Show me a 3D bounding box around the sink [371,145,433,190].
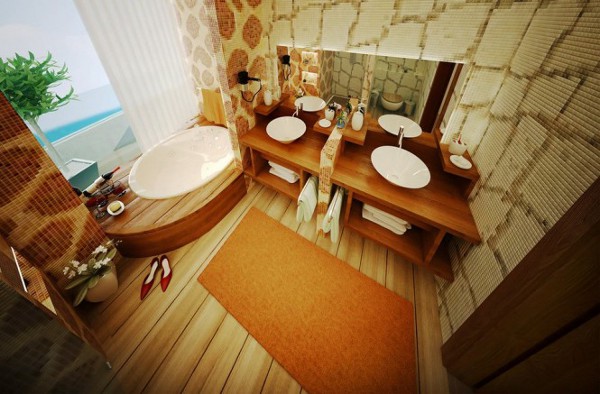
[{"bbox_3d":[1.015,-0.301,3.519,0.602,0.167,0.455,14,42,17],"label":"sink"}]

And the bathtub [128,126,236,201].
[{"bbox_3d":[-1.598,-0.489,4.675,0.954,0.232,1.131,25,48,24],"label":"bathtub"}]

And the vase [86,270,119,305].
[{"bbox_3d":[-2.006,0.933,3.621,0.300,0.247,0.332,-3,36,-6],"label":"vase"}]

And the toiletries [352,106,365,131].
[{"bbox_3d":[0.618,-0.827,3.678,0.132,0.230,0.241,7,44,10],"label":"toiletries"}]

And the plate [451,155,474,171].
[{"bbox_3d":[1.566,-0.328,3.375,0.146,0.057,0.231,-28,46,-29],"label":"plate"}]

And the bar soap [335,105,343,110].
[{"bbox_3d":[0.431,-1.009,3.930,0.078,0.054,0.019,6,7,-5],"label":"bar soap"}]

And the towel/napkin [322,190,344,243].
[{"bbox_3d":[0.346,0.200,3.776,0.137,0.292,0.512,12,41,15],"label":"towel/napkin"}]

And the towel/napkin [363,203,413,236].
[{"bbox_3d":[1.013,0.164,3.817,0.379,0.122,0.374,25,43,26],"label":"towel/napkin"}]

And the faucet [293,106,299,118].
[{"bbox_3d":[-0.040,-1.010,4.141,0.060,0.101,0.103,18,65,21],"label":"faucet"}]

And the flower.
[{"bbox_3d":[-2.073,0.809,3.569,0.357,0.469,0.639,26,47,30],"label":"flower"}]

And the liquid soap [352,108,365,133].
[{"bbox_3d":[0.609,-0.801,3.663,0.128,0.220,0.220,3,46,7],"label":"liquid soap"}]

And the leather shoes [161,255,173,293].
[{"bbox_3d":[-1.450,0.818,3.750,0.109,0.062,0.369,-17,49,-16],"label":"leather shoes"}]

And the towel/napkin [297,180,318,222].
[{"bbox_3d":[0.074,0.034,3.888,0.103,0.252,0.438,11,42,16],"label":"towel/napkin"}]
